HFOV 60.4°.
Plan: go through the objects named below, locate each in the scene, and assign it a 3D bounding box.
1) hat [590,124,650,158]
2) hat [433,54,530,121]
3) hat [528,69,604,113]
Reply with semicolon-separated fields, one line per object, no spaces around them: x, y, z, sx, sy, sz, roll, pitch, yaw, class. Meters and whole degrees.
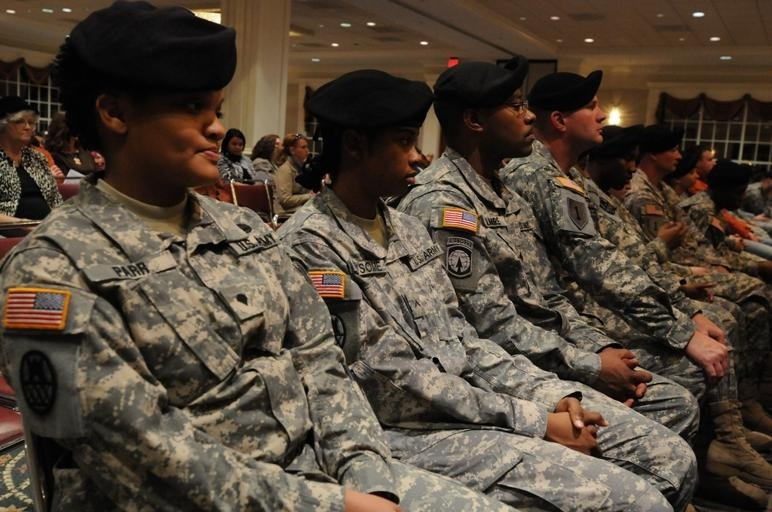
1.476;-0.676;4.230;0.266;0.152;0.252;-11;8;28;hat
0.465;-0.820;3.077;0.374;0.196;0.284;-16;28;-33;hat
1.045;-0.968;3.820;0.391;0.227;0.537;1;19;19;hat
